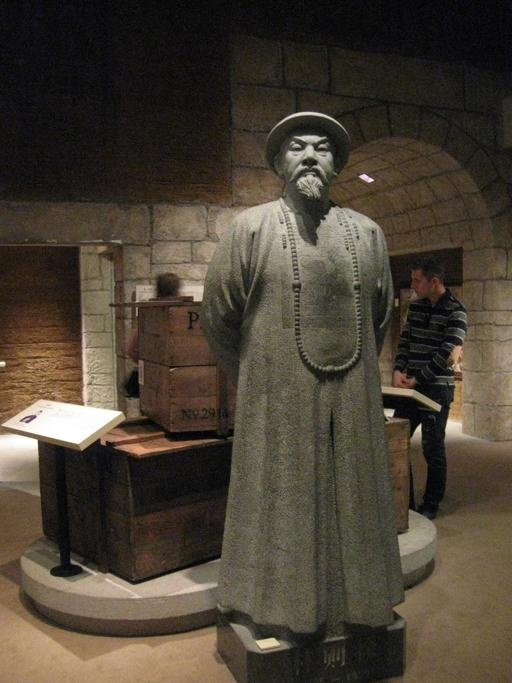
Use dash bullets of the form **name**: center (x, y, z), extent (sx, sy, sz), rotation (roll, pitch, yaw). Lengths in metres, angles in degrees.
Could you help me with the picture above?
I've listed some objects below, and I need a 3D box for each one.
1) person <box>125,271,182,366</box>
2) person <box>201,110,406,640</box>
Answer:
- **person**: center (-0.654, -0.150, 4.340), extent (0.400, 0.683, 1.187), rotation (-1, 3, -11)
- **person**: center (0.161, 0.108, 2.350), extent (0.731, 1.846, 0.459), rotation (0, 4, 2)
